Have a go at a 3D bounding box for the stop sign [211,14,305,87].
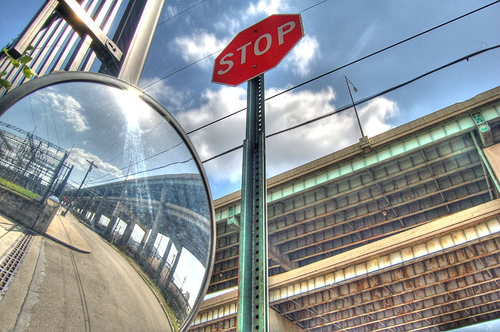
[{"bbox_3d":[0.051,-1.671,5.187,1.573,1.034,0.033,-17,-33,30],"label":"stop sign"}]
